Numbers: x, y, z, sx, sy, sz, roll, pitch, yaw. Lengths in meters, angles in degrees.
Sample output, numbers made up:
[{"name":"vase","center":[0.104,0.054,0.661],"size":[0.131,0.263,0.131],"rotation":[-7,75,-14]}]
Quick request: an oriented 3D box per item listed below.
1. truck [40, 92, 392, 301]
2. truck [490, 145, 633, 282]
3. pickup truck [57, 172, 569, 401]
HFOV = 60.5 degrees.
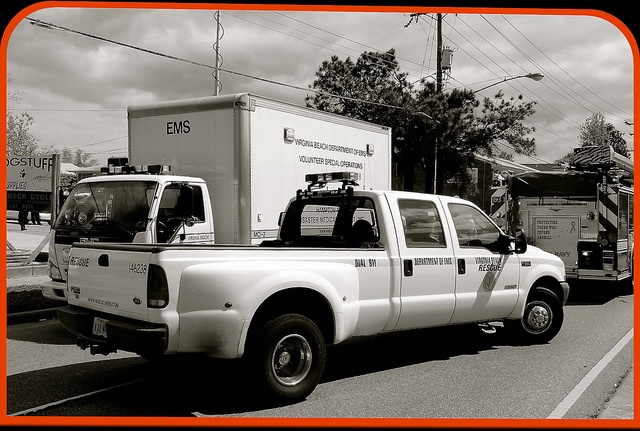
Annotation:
[{"name":"truck","center":[-1.784,-0.069,13.038],"size":[3.557,4.533,7.976],"rotation":[-2,0,35]},{"name":"truck","center":[6.263,-0.033,14.614],"size":[3.719,3.324,6.156],"rotation":[1,2,38]},{"name":"pickup truck","center":[0.631,0.992,8.473],"size":[7.091,2.669,3.316],"rotation":[-3,4,-40]}]
